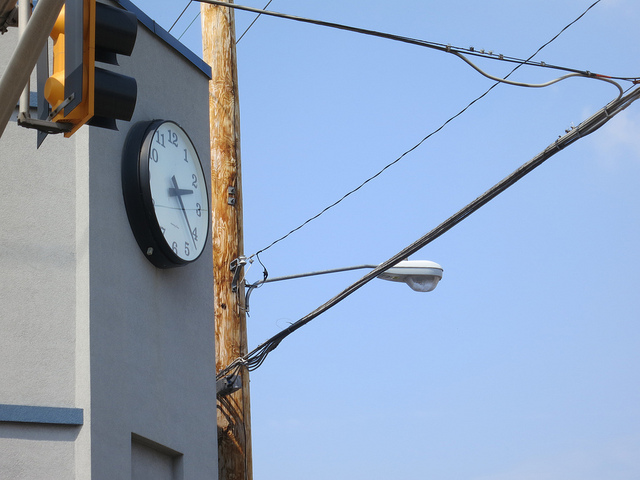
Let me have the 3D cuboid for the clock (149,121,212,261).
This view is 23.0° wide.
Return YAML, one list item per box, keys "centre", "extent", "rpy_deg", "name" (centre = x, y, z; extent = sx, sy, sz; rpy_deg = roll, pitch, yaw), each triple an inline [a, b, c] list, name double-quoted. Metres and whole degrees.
- centre: [-1.184, -0.357, 13.047]
  extent: [0.104, 0.831, 0.903]
  rpy_deg: [-12, -28, 10]
  name: "clock"

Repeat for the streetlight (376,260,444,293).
- centre: [0.899, 0.345, 15.945]
  extent: [0.718, 0.388, 0.430]
  rpy_deg: [0, -8, 12]
  name: "streetlight"
